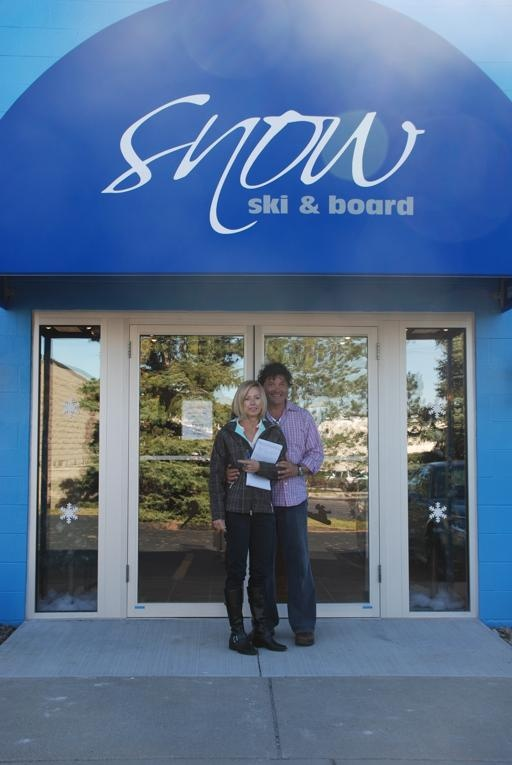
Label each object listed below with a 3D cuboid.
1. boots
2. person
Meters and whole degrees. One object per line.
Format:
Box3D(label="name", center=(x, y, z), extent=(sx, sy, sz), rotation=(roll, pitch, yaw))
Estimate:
Box3D(label="boots", center=(-0.021, 1.535, 4.614), extent=(0.400, 0.485, 0.415), rotation=(-10, -17, 28))
Box3D(label="person", center=(0.082, 0.785, 4.595), extent=(0.771, 1.831, 0.381), rotation=(1, 0, -30))
